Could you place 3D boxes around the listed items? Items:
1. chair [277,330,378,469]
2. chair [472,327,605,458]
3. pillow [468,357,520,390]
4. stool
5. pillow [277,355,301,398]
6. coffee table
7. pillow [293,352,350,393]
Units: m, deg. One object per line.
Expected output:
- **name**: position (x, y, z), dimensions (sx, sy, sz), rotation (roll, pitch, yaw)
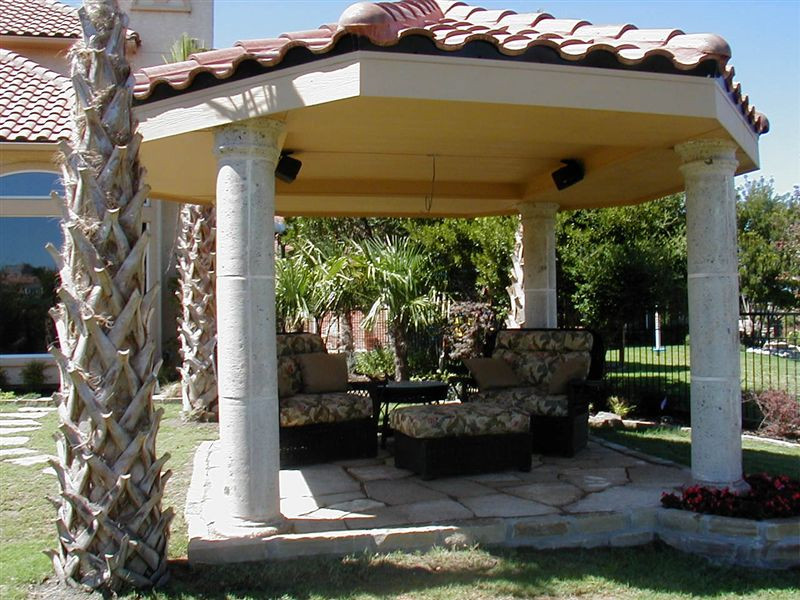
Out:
- **chair**: position (-0.923, 1.032, 8.211), dimensions (1.271, 1.107, 1.185), rotation (0, 6, -13)
- **chair**: position (1.493, 0.984, 8.651), dimensions (1.458, 1.214, 0.880), rotation (1, 6, 31)
- **pillow**: position (1.084, 0.837, 8.784), dimensions (0.472, 0.321, 0.404), rotation (0, -3, 11)
- **stool**: position (0.615, 1.374, 7.505), dimensions (1.299, 0.679, 0.587), rotation (-2, 12, -12)
- **pillow**: position (-1.215, 0.831, 8.201), dimensions (0.141, 0.383, 0.418), rotation (-19, -21, 31)
- **coffee table**: position (0.101, 1.189, 8.705), dimensions (0.791, 0.554, 0.770), rotation (0, -1, -1)
- **pillow**: position (-0.844, 0.804, 8.529), dimensions (0.634, 0.466, 0.233), rotation (2, -1, -35)
